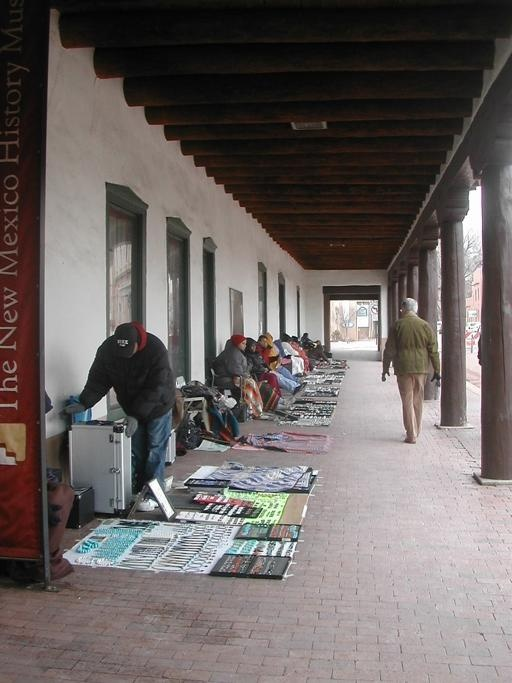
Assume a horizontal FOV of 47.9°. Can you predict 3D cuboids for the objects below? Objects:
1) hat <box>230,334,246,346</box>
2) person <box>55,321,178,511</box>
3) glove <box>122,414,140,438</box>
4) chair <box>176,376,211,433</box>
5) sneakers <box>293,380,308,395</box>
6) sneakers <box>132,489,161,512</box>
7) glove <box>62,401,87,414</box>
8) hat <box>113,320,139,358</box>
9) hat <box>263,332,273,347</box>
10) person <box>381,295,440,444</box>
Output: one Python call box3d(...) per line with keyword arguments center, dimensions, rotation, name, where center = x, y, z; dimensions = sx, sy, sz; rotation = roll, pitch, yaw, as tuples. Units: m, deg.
box3d(center=(-0.333, -0.006, 9.855), dimensions=(0.181, 0.173, 0.327), rotation=(0, 1, 29), name="hat")
box3d(center=(-1.054, 0.634, 4.678), dimensions=(0.809, 1.598, 0.663), rotation=(-6, 17, -28), name="person")
box3d(center=(-0.960, 0.655, 4.461), dimensions=(0.109, 0.157, 0.150), rotation=(-14, 0, -28), name="glove")
box3d(center=(-0.806, 0.777, 7.354), dimensions=(0.402, 0.731, 0.454), rotation=(11, 0, -26), name="chair")
box3d(center=(0.986, 1.060, 12.972), dimensions=(0.165, 0.245, 0.548), rotation=(8, 20, 13), name="sneakers")
box3d(center=(-0.881, 1.281, 4.600), dimensions=(0.112, 0.146, 0.324), rotation=(-2, -4, 30), name="sneakers")
box3d(center=(-1.485, 0.571, 4.748), dimensions=(0.162, 0.123, 0.419), rotation=(-1, 1, -19), name="glove")
box3d(center=(-0.985, 0.010, 4.428), dimensions=(0.157, 0.273, 0.142), rotation=(4, -26, -1), name="hat")
box3d(center=(0.296, -0.030, 13.696), dimensions=(0.240, 0.297, 0.101), rotation=(7, -3, 20), name="hat")
box3d(center=(1.964, 0.368, 7.431), dimensions=(0.653, 1.839, 0.542), rotation=(-1, 1, -33), name="person")
